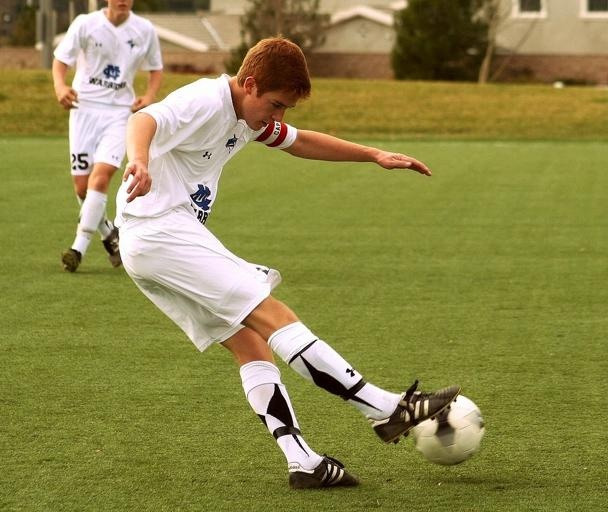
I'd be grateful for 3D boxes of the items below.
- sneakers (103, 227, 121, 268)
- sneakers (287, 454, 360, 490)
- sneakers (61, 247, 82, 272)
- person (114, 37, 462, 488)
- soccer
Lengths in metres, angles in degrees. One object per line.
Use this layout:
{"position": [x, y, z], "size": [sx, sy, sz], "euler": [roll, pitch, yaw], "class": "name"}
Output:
{"position": [-1.137, -0.052, 6.501], "size": [0.097, 0.247, 0.108], "euler": [-3, 16, 27], "class": "sneakers"}
{"position": [0.061, 0.813, 4.092], "size": [0.277, 0.114, 0.105], "euler": [0, 1, -13], "class": "sneakers"}
{"position": [-1.376, 0.030, 6.525], "size": [0.078, 0.167, 0.082], "euler": [9, 34, 1], "class": "sneakers"}
{"position": [-0.026, 0.044, 4.192], "size": [1.516, 1.718, 0.987], "euler": [-1, 1, -16], "class": "person"}
{"position": [0.542, 0.674, 4.193], "size": [0.291, 0.291, 0.274], "euler": [3, 12, 1], "class": "soccer"}
